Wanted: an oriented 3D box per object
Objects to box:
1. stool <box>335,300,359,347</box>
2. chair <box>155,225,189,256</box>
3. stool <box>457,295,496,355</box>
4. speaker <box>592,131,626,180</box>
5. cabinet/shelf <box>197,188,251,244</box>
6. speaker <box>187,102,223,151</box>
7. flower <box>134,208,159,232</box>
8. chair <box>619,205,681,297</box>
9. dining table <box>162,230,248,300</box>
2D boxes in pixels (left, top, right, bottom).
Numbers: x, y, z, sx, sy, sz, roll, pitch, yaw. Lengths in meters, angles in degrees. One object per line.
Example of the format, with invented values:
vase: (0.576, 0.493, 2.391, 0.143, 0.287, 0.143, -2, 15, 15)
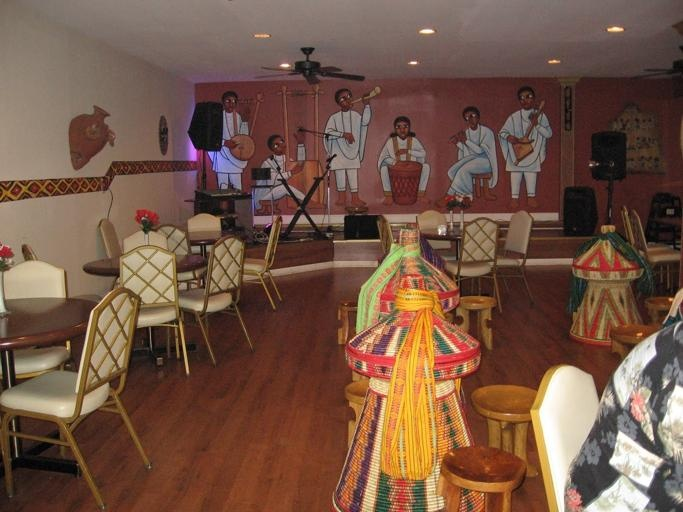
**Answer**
stool: (0.048, 0.618, 5.135, 0.295, 0.378, 0.318, 1, 0, 9)
chair: (-1.739, -0.150, 5.566, 0.254, 0.382, 0.255, 7, 12, 31)
stool: (1.224, 0.602, 4.928, 0.340, 0.427, 0.401, 0, 10, 3)
speaker: (2.886, -1.094, 5.869, 0.326, 0.515, 1.315, 4, 11, 24)
cabinet/shelf: (-1.684, -0.572, 7.700, 0.788, 0.849, 0.461, -5, 14, -31)
speaker: (-2.131, -2.033, 8.532, 0.503, 0.733, 0.371, -4, 10, -17)
flower: (-1.816, -0.325, 5.047, 0.168, 0.219, 0.416, -5, 11, -22)
chair: (3.869, -0.103, 6.732, 0.579, 1.101, 1.910, 6, 12, 34)
dining table: (-1.586, 0.054, 6.141, 0.834, 0.672, 0.866, 1, 16, 0)
